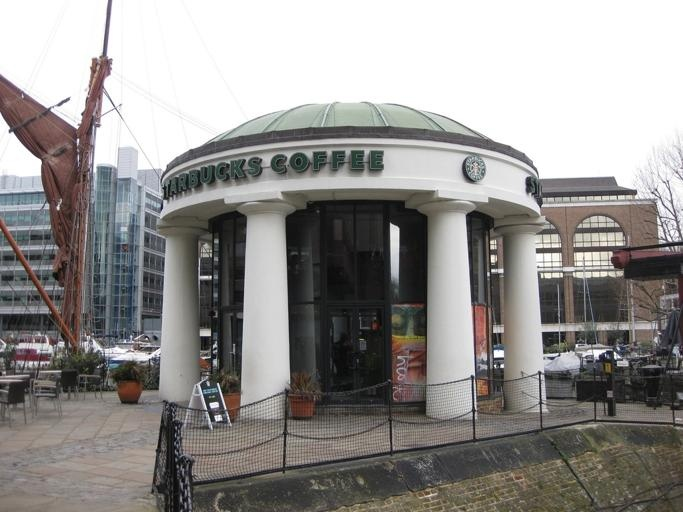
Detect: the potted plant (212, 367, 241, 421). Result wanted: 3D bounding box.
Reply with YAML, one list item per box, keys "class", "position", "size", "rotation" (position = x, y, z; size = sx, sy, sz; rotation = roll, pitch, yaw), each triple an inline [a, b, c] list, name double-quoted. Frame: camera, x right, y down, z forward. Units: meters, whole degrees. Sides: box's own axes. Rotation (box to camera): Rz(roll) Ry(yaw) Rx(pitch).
- class: "potted plant"
  position: [-3.171, 3.856, 17.542]
  size: [0.692, 1.242, 2.219]
  rotation: [-1, -7, -11]

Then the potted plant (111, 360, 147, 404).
- class: "potted plant"
  position: [-7.188, 4.284, 21.371]
  size: [0.906, 1.409, 1.038]
  rotation: [2, -8, -34]

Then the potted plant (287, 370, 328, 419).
- class: "potted plant"
  position: [-1.137, 3.611, 16.453]
  size: [0.901, 1.124, 0.922]
  rotation: [6, -10, 3]
